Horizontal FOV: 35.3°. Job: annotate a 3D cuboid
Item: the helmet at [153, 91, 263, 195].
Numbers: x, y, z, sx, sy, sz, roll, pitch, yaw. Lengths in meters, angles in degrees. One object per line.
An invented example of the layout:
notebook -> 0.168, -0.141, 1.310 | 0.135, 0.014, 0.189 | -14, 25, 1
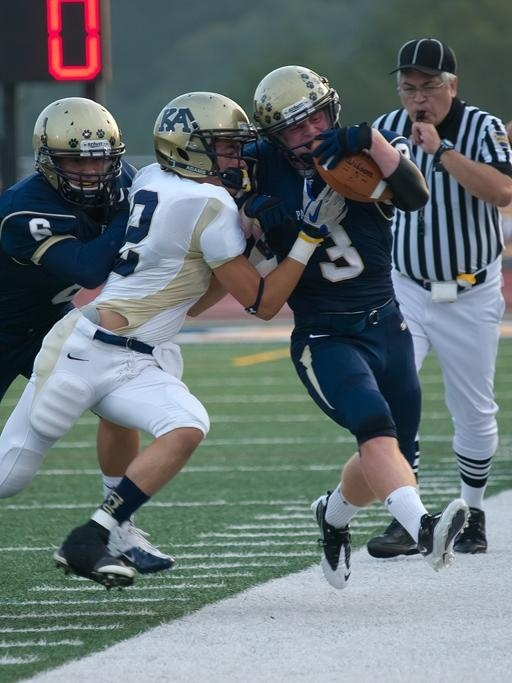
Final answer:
helmet -> -0.150, -0.606, 2.444 | 0.341, 0.227, 0.229 | 6, 16, 10

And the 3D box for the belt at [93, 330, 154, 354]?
belt -> -0.373, 0.001, 2.282 | 0.210, 0.041, 0.043 | 10, 4, -28

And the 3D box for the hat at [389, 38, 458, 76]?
hat -> 0.646, -1.069, 3.028 | 0.162, 0.103, 0.231 | 12, 10, 42

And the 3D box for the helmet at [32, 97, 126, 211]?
helmet -> -0.572, -0.620, 2.570 | 0.306, 0.273, 0.374 | -13, 31, -31

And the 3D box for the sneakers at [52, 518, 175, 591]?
sneakers -> -0.393, 0.573, 2.164 | 0.276, 0.090, 0.274 | 7, -2, 17

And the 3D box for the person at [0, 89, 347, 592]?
person -> -0.264, -0.052, 2.297 | 1.003, 1.433, 0.484 | 1, 1, 4
